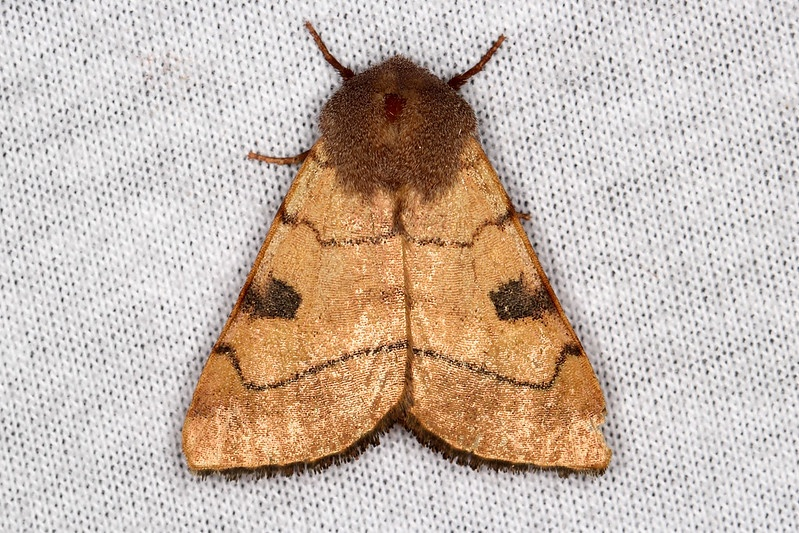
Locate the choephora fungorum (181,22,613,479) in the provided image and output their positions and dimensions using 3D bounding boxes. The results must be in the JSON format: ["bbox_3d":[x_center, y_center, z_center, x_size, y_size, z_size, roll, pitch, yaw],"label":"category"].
[{"bbox_3d":[-0.006,0.036,2.810,1.105,0.255,0.980,0,80,-1],"label":"choephora fungorum"}]
